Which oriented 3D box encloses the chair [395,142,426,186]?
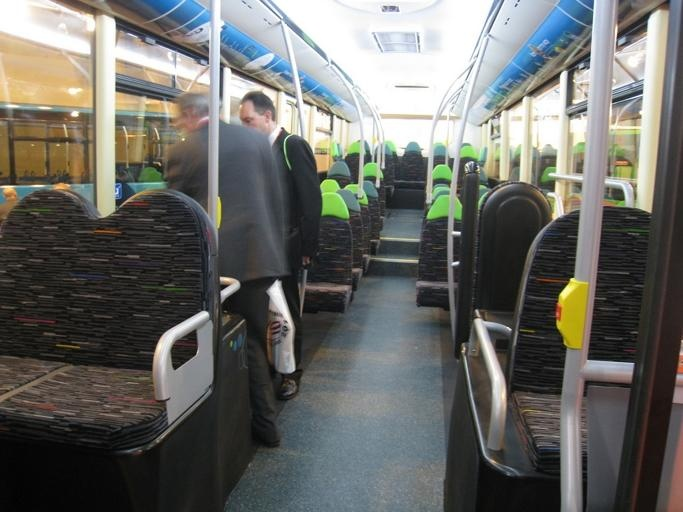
[{"bbox_3d":[1.904,-2.448,13.089,0.936,1.304,1.147,3,17,11],"label":"chair"}]
